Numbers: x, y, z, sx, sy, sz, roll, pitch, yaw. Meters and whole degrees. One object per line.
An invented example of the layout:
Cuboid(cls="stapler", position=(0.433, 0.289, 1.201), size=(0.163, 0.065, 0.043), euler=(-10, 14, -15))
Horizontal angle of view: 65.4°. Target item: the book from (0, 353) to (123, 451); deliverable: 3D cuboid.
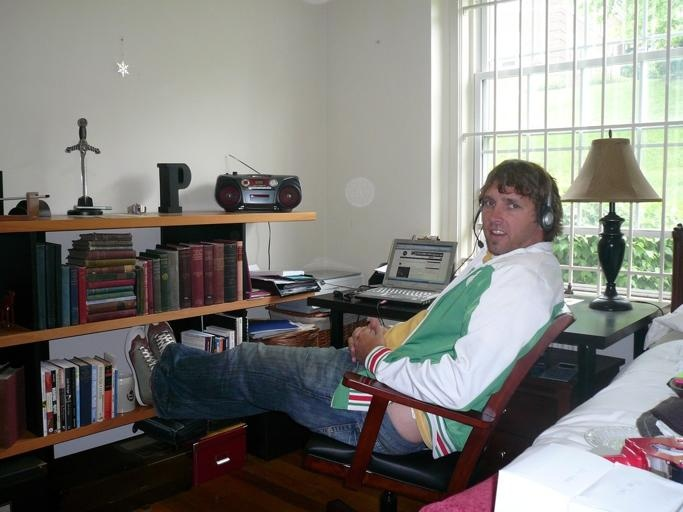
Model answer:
Cuboid(cls="book", position=(-1.088, 0.557, 2.246), size=(0.393, 0.303, 0.227), euler=(-6, 15, -35))

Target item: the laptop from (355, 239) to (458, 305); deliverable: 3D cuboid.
Cuboid(cls="laptop", position=(0.310, 0.068, 2.656), size=(0.422, 0.256, 0.470), euler=(-7, 8, -33))

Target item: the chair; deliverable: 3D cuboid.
Cuboid(cls="chair", position=(0.286, 0.485, 1.775), size=(0.753, 0.618, 0.566), euler=(6, -2, 6))

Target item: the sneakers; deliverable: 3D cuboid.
Cuboid(cls="sneakers", position=(-0.879, 0.500, 2.461), size=(0.224, 0.424, 0.165), euler=(4, -17, -35))

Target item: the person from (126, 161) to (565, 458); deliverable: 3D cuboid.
Cuboid(cls="person", position=(-0.015, 0.158, 2.057), size=(1.608, 1.053, 0.917), euler=(3, 3, 11))
